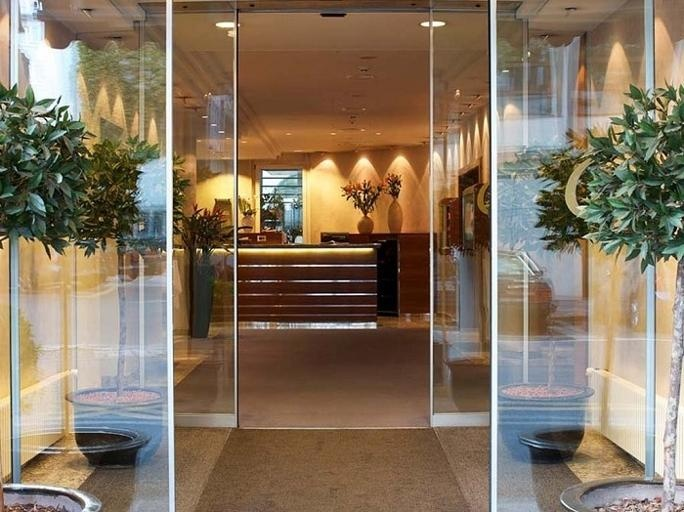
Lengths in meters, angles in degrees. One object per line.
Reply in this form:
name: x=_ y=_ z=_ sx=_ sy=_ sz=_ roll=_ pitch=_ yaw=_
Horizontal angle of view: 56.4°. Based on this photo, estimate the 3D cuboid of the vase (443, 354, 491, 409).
vase: x=0.901 y=0.874 z=4.385 sx=0.391 sy=0.377 sz=0.199 roll=-1 pitch=-7 yaw=-9

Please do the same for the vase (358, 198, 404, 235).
vase: x=0.823 y=-0.737 z=11.885 sx=0.686 sy=0.655 sz=1.326 roll=1 pitch=4 yaw=25
